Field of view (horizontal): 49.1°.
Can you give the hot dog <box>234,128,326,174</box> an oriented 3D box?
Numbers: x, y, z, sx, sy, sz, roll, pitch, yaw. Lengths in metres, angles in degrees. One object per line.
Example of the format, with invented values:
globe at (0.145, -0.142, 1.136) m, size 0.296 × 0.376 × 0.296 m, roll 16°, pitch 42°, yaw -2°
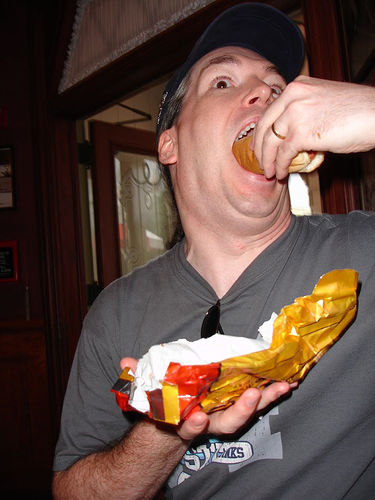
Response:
hot dog at (0.184, -0.195, 0.870) m, size 0.124 × 0.048 × 0.128 m, roll 36°, pitch 20°, yaw 25°
